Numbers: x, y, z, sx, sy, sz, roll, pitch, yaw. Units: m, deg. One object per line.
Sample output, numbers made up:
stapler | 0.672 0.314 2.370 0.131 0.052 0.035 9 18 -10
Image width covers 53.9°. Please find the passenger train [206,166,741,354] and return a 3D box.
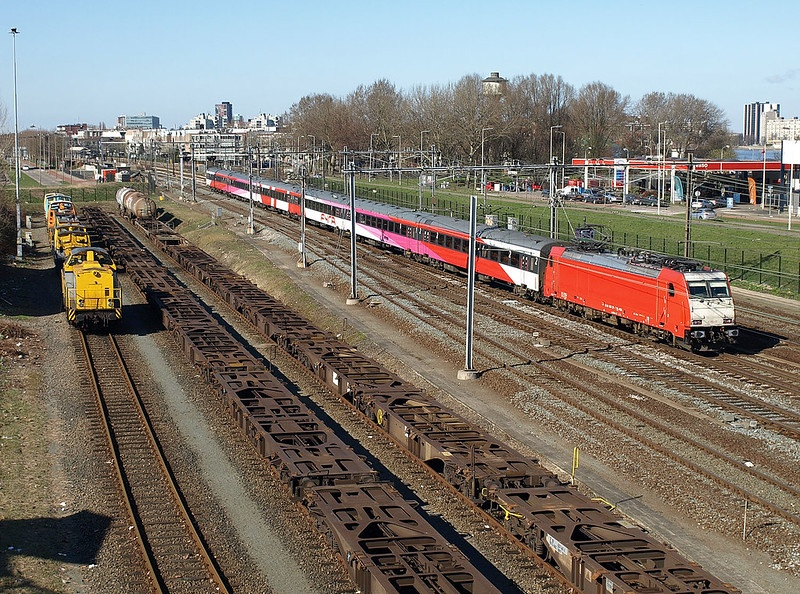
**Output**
passenger train | -5.923 -7.647 74.087 12.786 6.735 89.744 -4 11 -20

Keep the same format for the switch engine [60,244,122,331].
switch engine | -16.418 -0.460 41.735 2.586 3.791 6.754 -4 11 -23

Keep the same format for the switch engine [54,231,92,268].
switch engine | -22.799 -3.030 55.775 3.136 2.844 4.750 -4 8 -29
